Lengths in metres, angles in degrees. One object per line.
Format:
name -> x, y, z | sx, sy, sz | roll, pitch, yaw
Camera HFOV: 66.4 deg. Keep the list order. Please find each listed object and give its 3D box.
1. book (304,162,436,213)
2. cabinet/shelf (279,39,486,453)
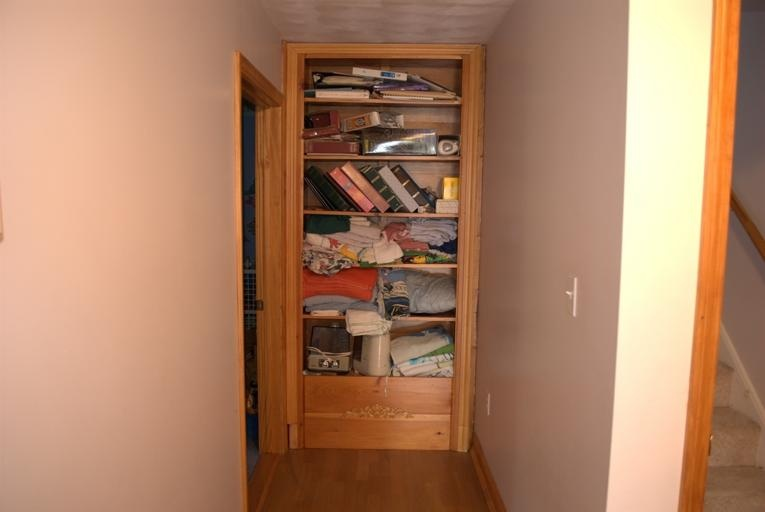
book -> -0.121, -0.398, 3.608 | 0.535, 0.147, 0.382 | 4, 10, -15
cabinet/shelf -> -0.028, -0.012, 3.685 | 1.234, 2.474, 0.716 | -2, 0, -10
